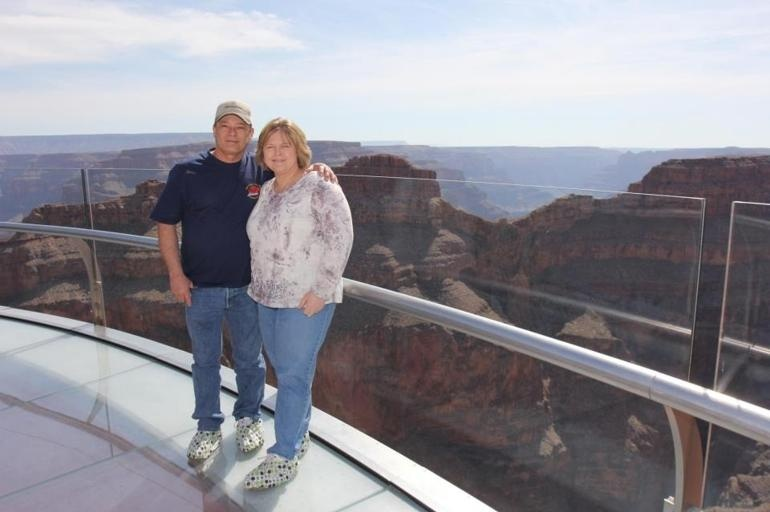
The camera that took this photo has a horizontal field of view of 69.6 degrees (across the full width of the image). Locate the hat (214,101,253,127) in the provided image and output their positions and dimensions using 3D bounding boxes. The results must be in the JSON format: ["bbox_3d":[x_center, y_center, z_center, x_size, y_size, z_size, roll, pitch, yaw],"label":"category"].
[{"bbox_3d":[-1.155,-1.079,4.186,0.281,0.186,0.131,-4,16,-14],"label":"hat"}]

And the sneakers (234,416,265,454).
[{"bbox_3d":[-0.996,1.308,4.053,0.162,0.117,0.273,-9,59,-12],"label":"sneakers"}]

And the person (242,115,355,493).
[{"bbox_3d":[-0.779,0.302,3.854,0.707,2.425,0.879,14,21,40],"label":"person"}]

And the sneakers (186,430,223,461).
[{"bbox_3d":[-1.303,1.350,3.994,0.139,0.171,0.274,8,17,26],"label":"sneakers"}]

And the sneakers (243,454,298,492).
[{"bbox_3d":[-0.777,1.481,3.768,0.333,0.133,0.194,-18,33,-25],"label":"sneakers"}]
